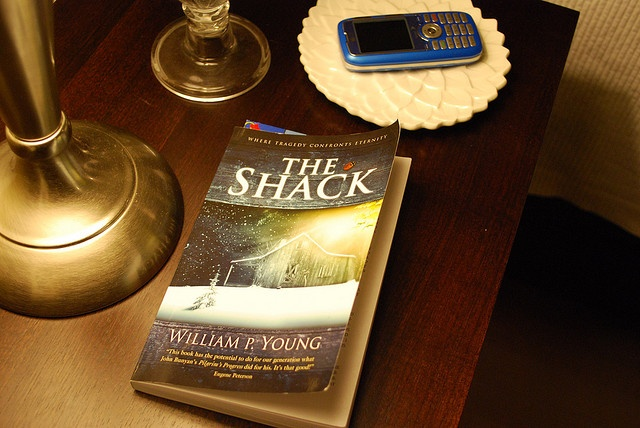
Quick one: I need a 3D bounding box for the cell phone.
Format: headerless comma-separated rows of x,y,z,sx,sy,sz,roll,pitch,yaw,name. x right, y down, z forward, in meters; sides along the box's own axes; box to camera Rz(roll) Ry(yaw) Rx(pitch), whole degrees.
0.122,-0.225,0.692,0.168,0.041,0.091,-4,71,1,cell phone
